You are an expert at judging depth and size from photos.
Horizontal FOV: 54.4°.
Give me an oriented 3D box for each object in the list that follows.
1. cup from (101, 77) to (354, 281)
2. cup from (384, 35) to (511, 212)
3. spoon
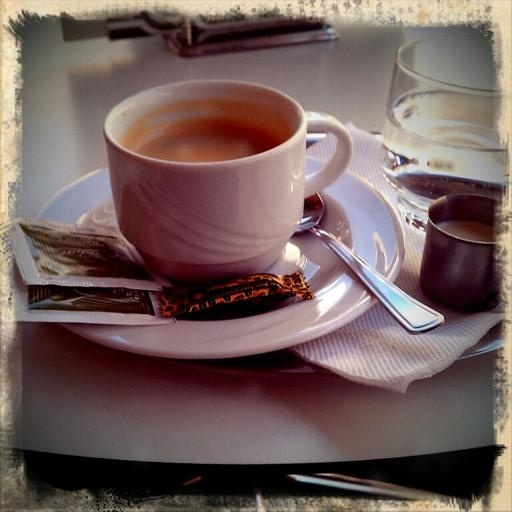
[{"bbox_3d":[-0.024,-0.072,0.495,0.231,0.138,0.183,-5,40,-7],"label":"cup"},{"bbox_3d":[0.236,-0.175,0.634,0.142,0.216,0.232,5,18,13],"label":"cup"},{"bbox_3d":[0.090,0.001,0.494,0.057,0.026,0.243,-19,38,-18],"label":"spoon"}]
